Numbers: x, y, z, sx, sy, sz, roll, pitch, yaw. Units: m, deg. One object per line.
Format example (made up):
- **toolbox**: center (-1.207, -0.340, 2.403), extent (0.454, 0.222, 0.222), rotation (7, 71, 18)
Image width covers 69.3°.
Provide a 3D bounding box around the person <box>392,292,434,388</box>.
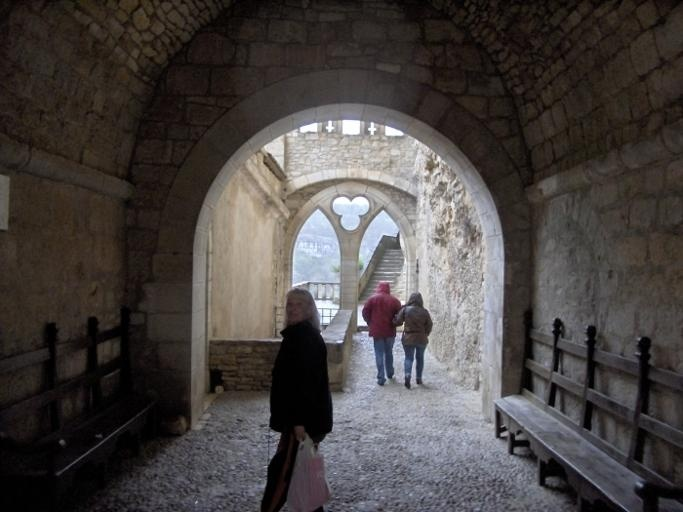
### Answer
- **person**: center (0.860, 0.991, 5.982), extent (0.418, 1.087, 0.748), rotation (1, 2, 11)
